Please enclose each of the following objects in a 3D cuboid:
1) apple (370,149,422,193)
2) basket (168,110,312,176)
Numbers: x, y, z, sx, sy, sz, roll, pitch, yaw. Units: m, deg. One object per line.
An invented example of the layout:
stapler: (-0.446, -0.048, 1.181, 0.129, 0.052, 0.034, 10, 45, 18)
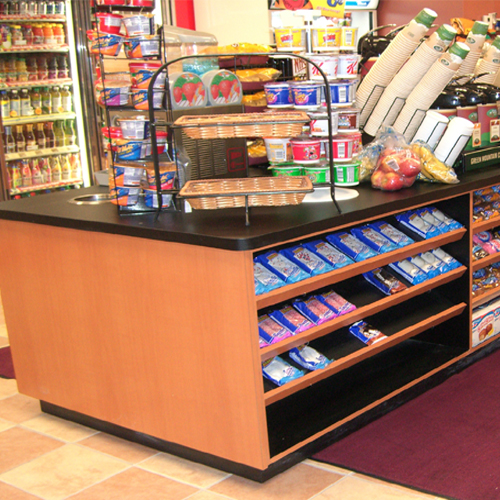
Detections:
apple: (0.616, -0.330, 2.031, 0.238, 0.173, 0.112, 3, 7, 13)
basket: (-0.022, -0.375, 1.782, 0.564, 0.203, 0.314, -10, 25, -22)
